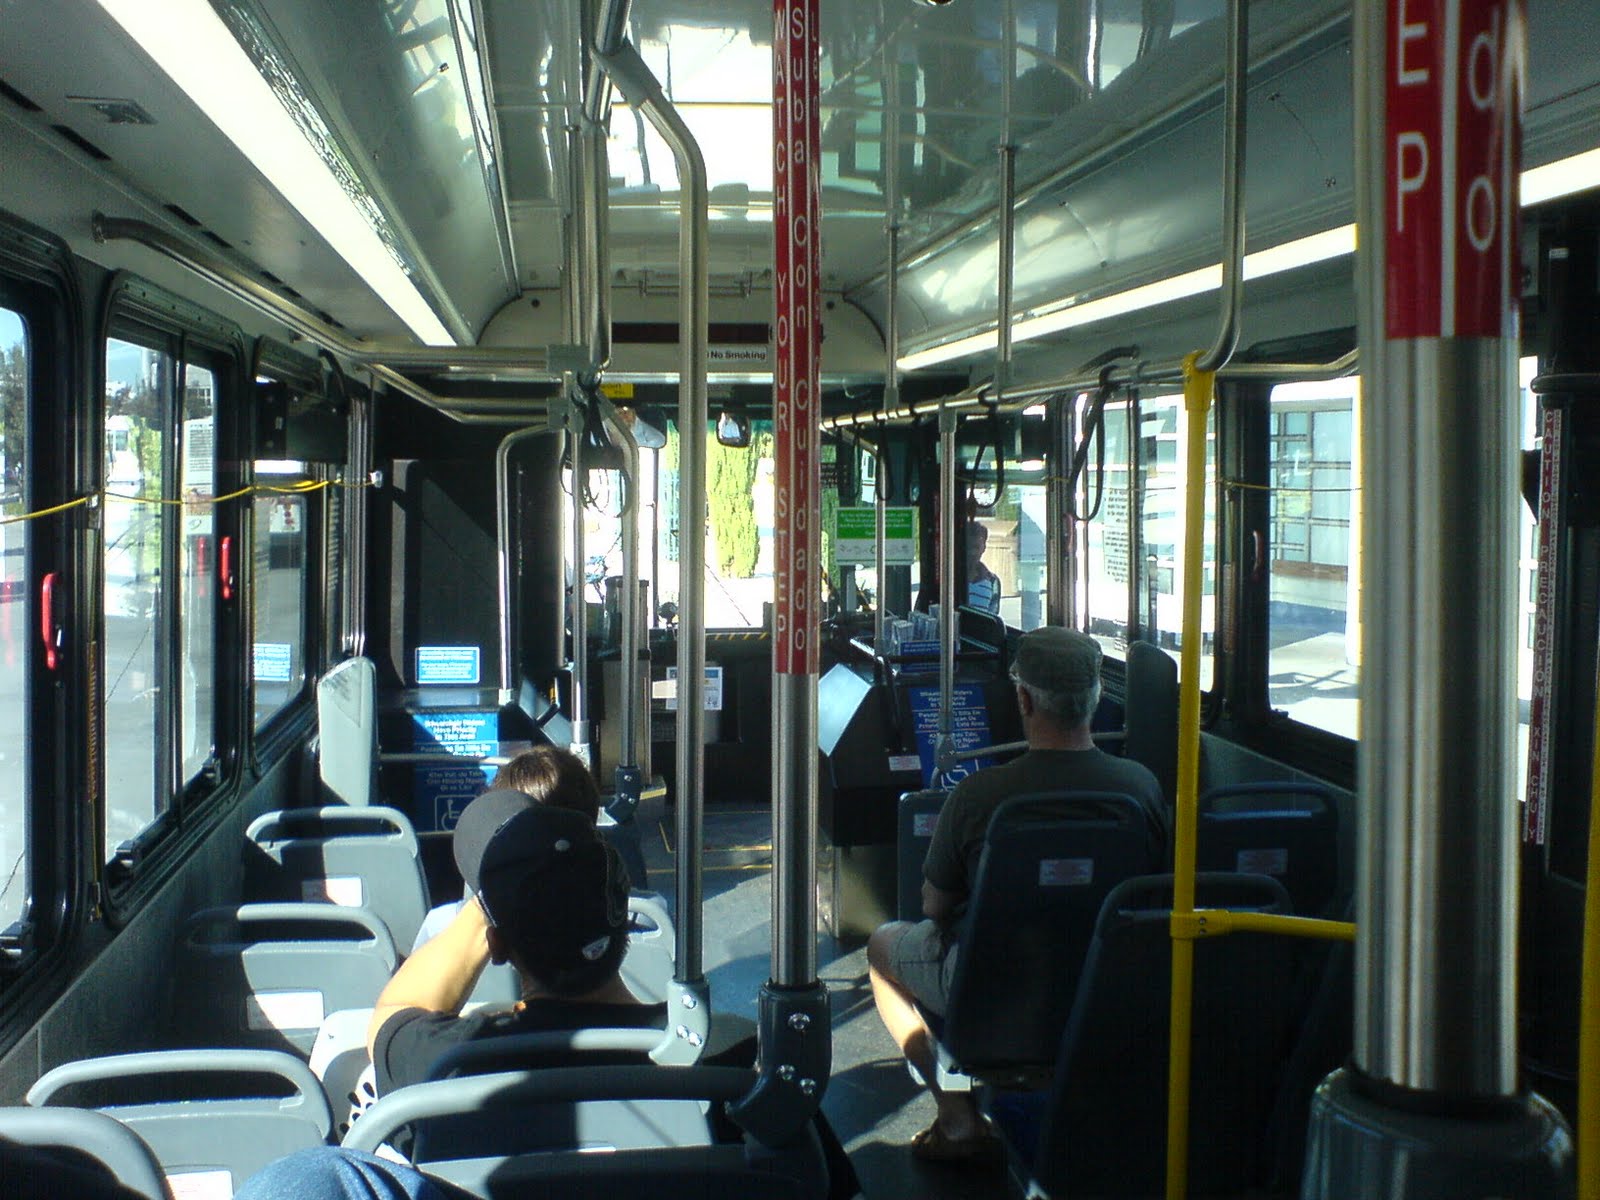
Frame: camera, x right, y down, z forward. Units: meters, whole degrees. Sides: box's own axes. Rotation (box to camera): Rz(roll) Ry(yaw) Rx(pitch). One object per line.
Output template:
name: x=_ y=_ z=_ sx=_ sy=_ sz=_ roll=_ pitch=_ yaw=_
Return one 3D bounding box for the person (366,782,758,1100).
person: x=-0.748 y=0.723 z=3.360 sx=0.740 sy=0.433 sz=0.502 roll=-15 pitch=-8 yaw=4

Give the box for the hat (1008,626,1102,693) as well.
hat: x=0.806 y=0.191 z=4.794 sx=0.259 sy=0.127 sz=0.397 roll=4 pitch=11 yaw=8
